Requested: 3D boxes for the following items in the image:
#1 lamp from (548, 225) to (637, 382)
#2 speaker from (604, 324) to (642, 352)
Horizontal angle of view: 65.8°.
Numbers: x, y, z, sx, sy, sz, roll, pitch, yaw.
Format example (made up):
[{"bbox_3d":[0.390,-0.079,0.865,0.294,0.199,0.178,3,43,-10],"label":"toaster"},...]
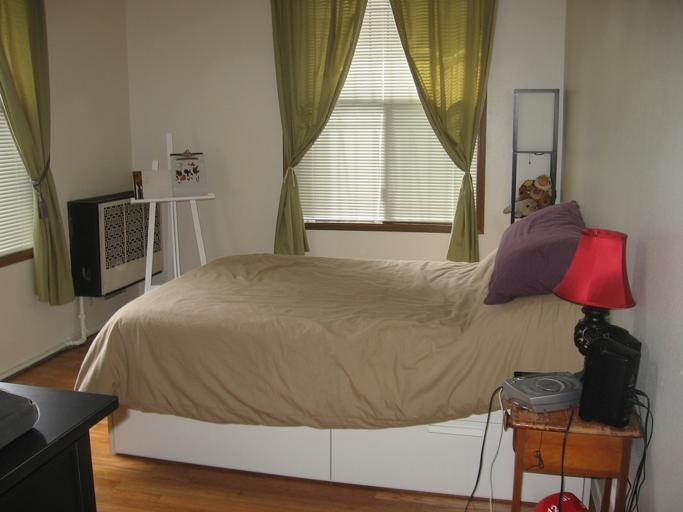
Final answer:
[{"bbox_3d":[0.919,0.132,1.922,0.245,0.445,0.244,4,12,15],"label":"lamp"},{"bbox_3d":[0.998,0.297,1.930,0.079,0.054,0.143,-4,30,-44],"label":"speaker"}]
